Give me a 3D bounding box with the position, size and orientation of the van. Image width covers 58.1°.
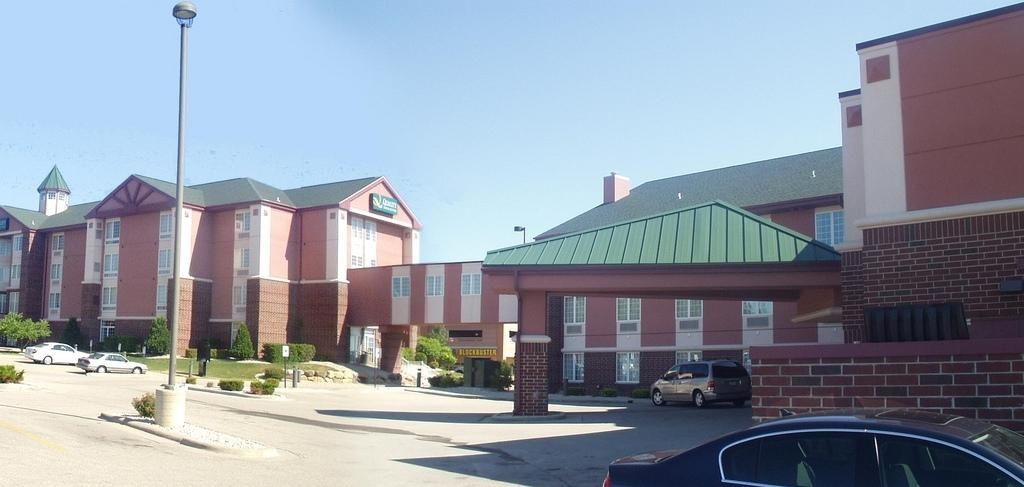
[{"bbox_3d":[11.675,8.771,58.171,6.275,3.028,2.596,-12,-20,43],"label":"van"}]

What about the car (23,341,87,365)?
[{"bbox_3d":[-34.628,8.194,69.082,3.528,1.657,1.921,7,-16,-23],"label":"car"}]

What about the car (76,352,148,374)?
[{"bbox_3d":[-28.836,8.536,66.237,4.174,1.011,1.772,2,-1,-31],"label":"car"}]
